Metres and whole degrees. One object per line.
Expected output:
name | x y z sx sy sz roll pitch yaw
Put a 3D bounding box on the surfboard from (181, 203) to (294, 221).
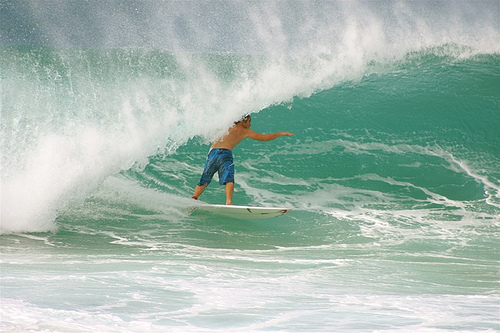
surfboard | -0.307 0.892 10.166 2.468 0.159 0.364 1 -21 8
